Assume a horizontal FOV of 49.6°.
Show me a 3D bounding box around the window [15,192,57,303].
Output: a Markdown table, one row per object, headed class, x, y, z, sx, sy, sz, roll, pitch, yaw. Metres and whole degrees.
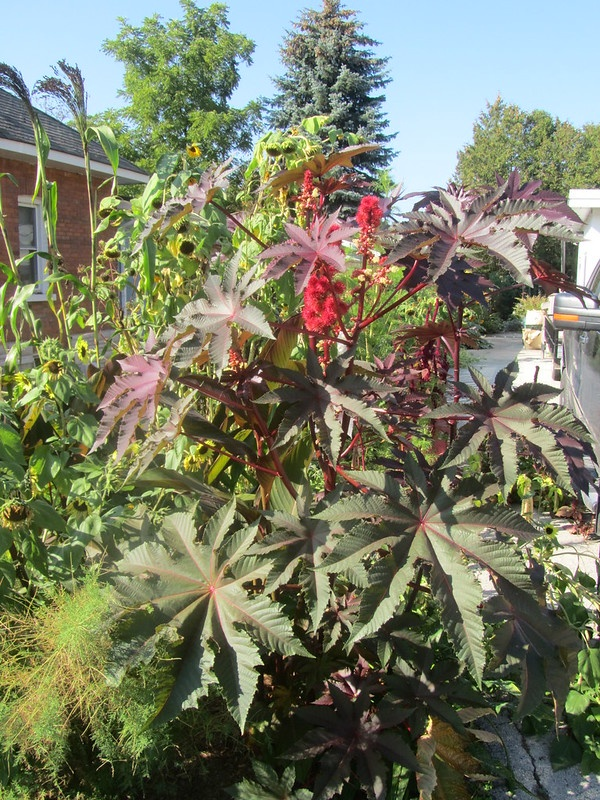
| class | x | y | z | sx | sy | sz | roll | pitch | yaw |
| --- | --- | --- | --- | --- | --- | --- | --- | --- | --- |
| window | -4.622 | -2.645 | 11.217 | 0.726 | 1.727 | 0.148 | 6 | 10 | 3 |
